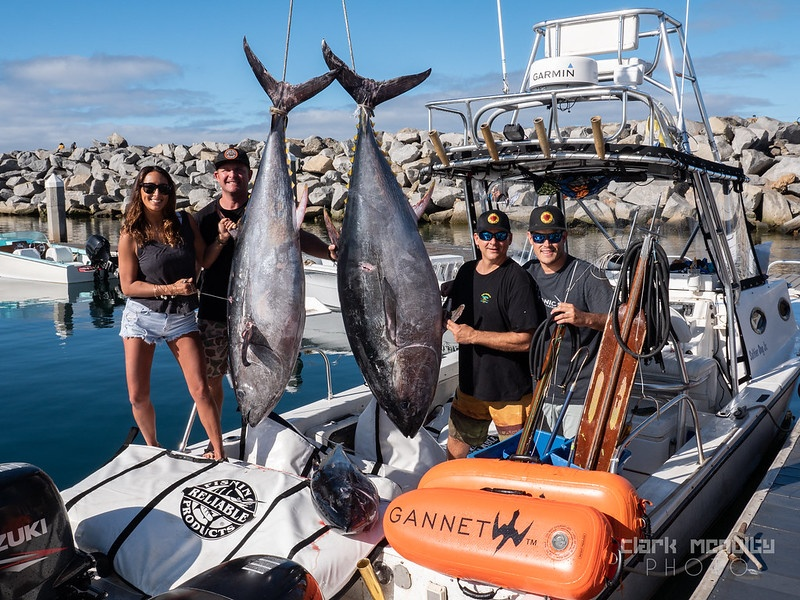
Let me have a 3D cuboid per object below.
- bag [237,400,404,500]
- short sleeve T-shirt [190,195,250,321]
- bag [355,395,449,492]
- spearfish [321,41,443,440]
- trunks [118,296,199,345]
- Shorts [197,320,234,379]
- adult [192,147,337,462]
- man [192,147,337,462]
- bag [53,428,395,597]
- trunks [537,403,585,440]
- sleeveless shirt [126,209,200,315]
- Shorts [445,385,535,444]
[{"bbox_3d":[-0.498,0.763,3.386,0.740,0.258,0.432,14,4,30],"label":"bag"},{"bbox_3d":[-1.094,-0.237,3.570,0.214,0.676,0.502,4,-6,2],"label":"short sleeve T-shirt"},{"bbox_3d":[-0.028,0.900,3.730,0.526,0.554,0.565,0,15,17],"label":"bag"},{"bbox_3d":[-0.061,-0.250,2.790,0.508,1.842,0.342,-3,9,-6],"label":"spearfish"},{"bbox_3d":[-1.333,0.122,3.416,0.354,0.238,0.214,5,7,-17],"label":"trunks"},{"bbox_3d":[-1.227,0.312,3.758,0.201,0.297,0.180,-7,-10,-13],"label":"Shorts"},{"bbox_3d":[-0.856,-0.244,3.477,0.548,2.204,0.669,5,2,3],"label":"adult"},{"bbox_3d":[-0.876,-0.226,3.537,0.548,2.204,0.669,5,2,3],"label":"man"},{"bbox_3d":[-0.958,1.014,2.766,1.112,0.260,0.676,9,20,18],"label":"bag"},{"bbox_3d":[0.949,0.712,3.546,0.143,0.191,0.255,28,-13,-31],"label":"trunks"},{"bbox_3d":[-1.383,-0.220,3.420,0.445,0.612,0.352,0,-2,-44],"label":"sleeveless shirt"},{"bbox_3d":[0.572,0.666,3.596,0.434,0.391,0.223,2,-19,36],"label":"Shorts"}]
